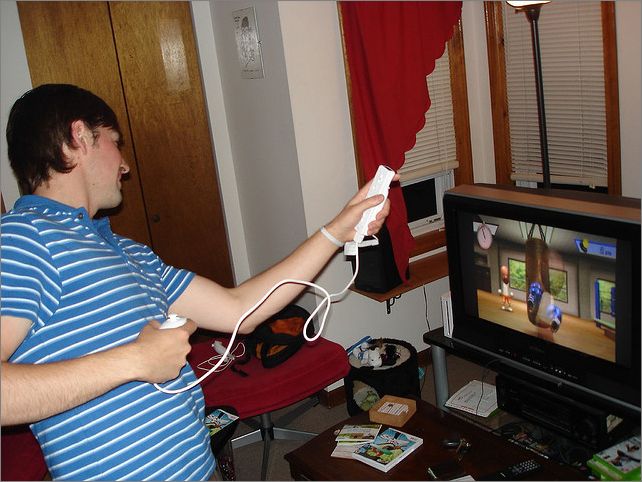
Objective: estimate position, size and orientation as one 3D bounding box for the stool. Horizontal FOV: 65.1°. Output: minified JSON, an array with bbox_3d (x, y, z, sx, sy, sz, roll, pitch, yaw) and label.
[{"bbox_3d":[0.398,0.956,3.445,0.505,0.500,0.483,3,6,-39],"label":"stool"}]

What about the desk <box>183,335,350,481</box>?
[{"bbox_3d":[-0.327,0.701,3.100,0.770,0.787,0.868,-12,23,-18],"label":"desk"}]

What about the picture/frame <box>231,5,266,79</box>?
[{"bbox_3d":[-0.475,-1.353,3.376,0.038,0.569,0.386,-19,25,-34],"label":"picture/frame"}]

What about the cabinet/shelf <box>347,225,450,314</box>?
[{"bbox_3d":[0.666,0.165,3.718,0.861,0.214,0.539,-24,20,-39],"label":"cabinet/shelf"}]
